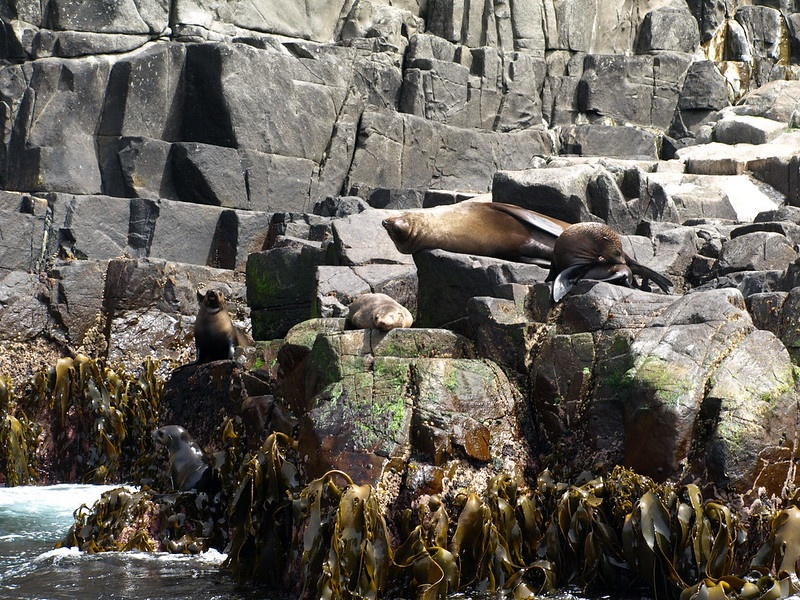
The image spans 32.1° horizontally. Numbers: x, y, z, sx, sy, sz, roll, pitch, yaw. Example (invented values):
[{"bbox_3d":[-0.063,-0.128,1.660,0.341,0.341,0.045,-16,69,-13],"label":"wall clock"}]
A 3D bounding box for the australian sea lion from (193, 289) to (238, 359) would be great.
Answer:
[{"bbox_3d":[-2.287,0.364,17.541,0.581,1.000,1.019,-2,-4,10],"label":"australian sea lion"}]

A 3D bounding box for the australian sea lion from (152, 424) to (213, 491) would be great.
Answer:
[{"bbox_3d":[-2.419,1.795,15.648,0.417,0.664,0.754,-1,6,-39],"label":"australian sea lion"}]

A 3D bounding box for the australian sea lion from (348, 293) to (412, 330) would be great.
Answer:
[{"bbox_3d":[-0.256,0.166,15.126,0.739,0.390,0.581,5,5,18],"label":"australian sea lion"}]

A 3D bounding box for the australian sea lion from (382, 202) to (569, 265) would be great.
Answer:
[{"bbox_3d":[0.952,-0.745,16.828,1.711,0.584,0.947,-3,-7,1],"label":"australian sea lion"}]
